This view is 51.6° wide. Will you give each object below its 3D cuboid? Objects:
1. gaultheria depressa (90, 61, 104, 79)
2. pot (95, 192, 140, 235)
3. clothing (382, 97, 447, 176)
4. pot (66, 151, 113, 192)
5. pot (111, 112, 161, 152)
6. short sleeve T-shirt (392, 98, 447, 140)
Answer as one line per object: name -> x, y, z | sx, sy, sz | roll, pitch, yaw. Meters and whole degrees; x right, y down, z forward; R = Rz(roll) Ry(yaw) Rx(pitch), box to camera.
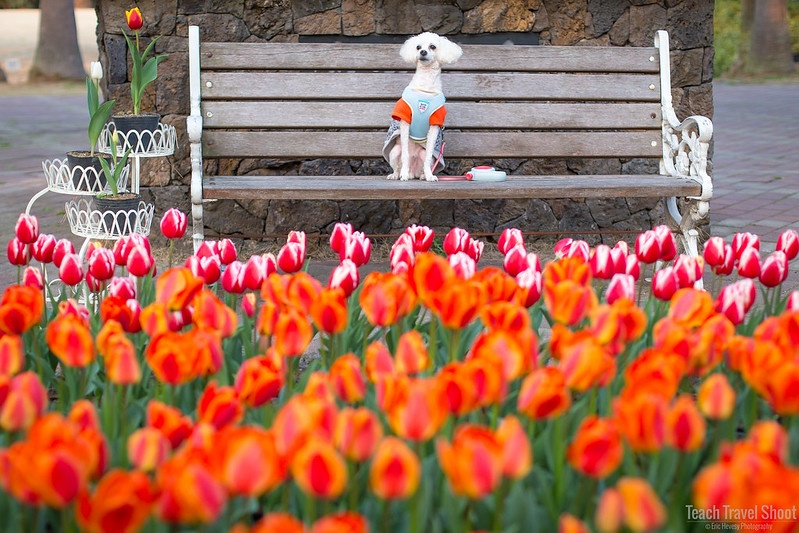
gaultheria depressa -> -1.636, -0.990, 4.475 | 0.057, 0.101, 0.249 | -2, 6, -21
pot -> -1.505, -0.240, 4.392 | 0.203, 0.172, 0.213 | -1, 5, 0
clothing -> 0.158, -0.722, 5.164 | 0.436, 0.568, 0.384 | 9, -3, 5
pot -> -1.698, -0.456, 4.531 | 0.208, 0.180, 0.229 | 0, 4, -6
pot -> -1.511, -0.730, 4.785 | 0.223, 0.180, 0.234 | -1, 6, 0
short sleeve T-shirt -> 0.113, -0.831, 5.039 | 0.225, 0.272, 0.098 | 7, 10, -2
